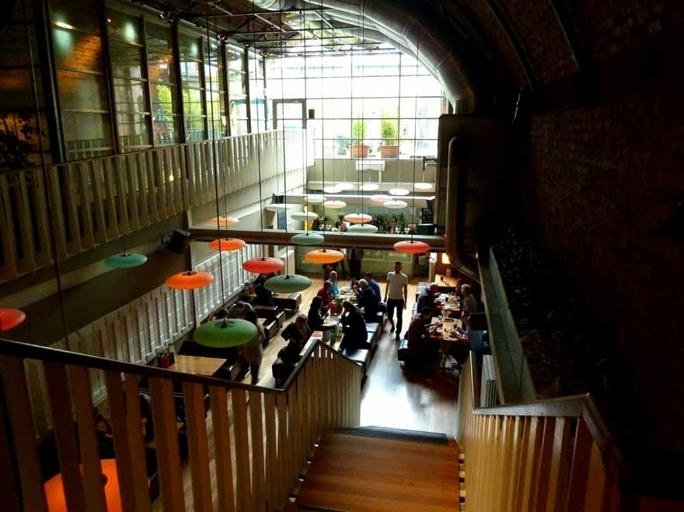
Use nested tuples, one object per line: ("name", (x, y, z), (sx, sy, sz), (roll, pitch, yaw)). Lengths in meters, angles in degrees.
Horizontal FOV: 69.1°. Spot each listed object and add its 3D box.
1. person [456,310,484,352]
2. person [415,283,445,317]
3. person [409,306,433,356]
("person", (2.349, 1.341, 9.080), (0.296, 0.942, 0.671), (1, 4, 5))
("person", (2.146, 1.096, 12.075), (0.417, 0.805, 0.431), (-6, 31, -7))
("person", (1.605, 1.642, 10.587), (0.469, 0.888, 1.007), (5, 7, 9))
